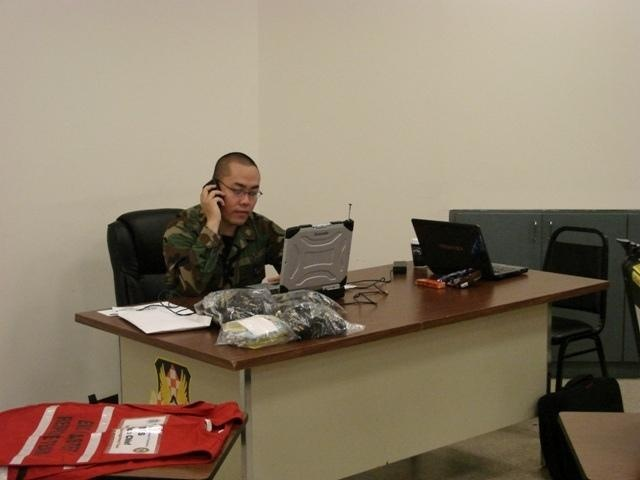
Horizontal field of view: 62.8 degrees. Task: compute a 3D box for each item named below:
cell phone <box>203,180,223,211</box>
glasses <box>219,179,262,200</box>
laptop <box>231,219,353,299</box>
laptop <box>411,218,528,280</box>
[{"bbox_3d":[-0.543,-0.253,2.761,0.118,0.171,0.060,4,23,37],"label":"cell phone"},{"bbox_3d":[-0.414,-0.259,2.710,0.203,0.102,0.106,-5,10,-15],"label":"glasses"},{"bbox_3d":[-0.115,0.022,2.474,0.413,0.391,0.336,-5,13,-41],"label":"laptop"},{"bbox_3d":[0.729,0.005,2.774,0.400,0.275,0.396,-14,12,-40],"label":"laptop"}]
